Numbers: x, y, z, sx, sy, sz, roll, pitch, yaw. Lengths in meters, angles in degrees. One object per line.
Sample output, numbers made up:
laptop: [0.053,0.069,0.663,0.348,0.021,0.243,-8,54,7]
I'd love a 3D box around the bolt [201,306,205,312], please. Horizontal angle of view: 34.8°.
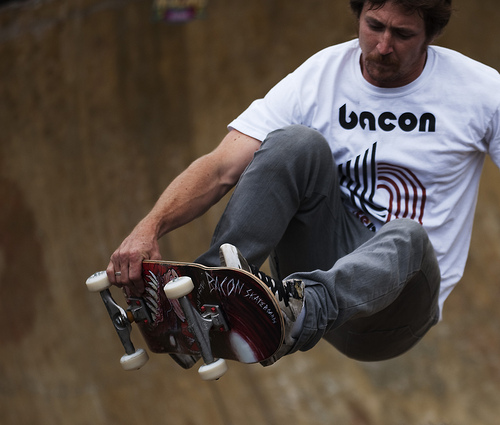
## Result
bolt: [-0.146,0.296,2.419,0.008,0.012,0.012,2,63,-8]

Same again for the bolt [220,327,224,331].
bolt: [-0.089,0.356,2.410,0.012,0.011,0.003,14,48,12]

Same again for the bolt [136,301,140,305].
bolt: [-0.368,0.295,2.589,0.013,0.003,0.014,5,84,8]

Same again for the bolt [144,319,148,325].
bolt: [-0.345,0.360,2.605,0.011,0.003,0.013,-6,95,13]

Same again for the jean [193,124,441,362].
jean: [0.273,0.131,2.781,0.757,1.163,0.681,22,86,25]

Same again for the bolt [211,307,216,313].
bolt: [-0.112,0.295,2.404,0.012,0.013,0.011,4,36,12]

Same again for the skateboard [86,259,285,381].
skateboard: [-0.200,0.313,2.515,0.713,0.133,0.429,4,90,30]

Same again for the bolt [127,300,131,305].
bolt: [-0.402,0.298,2.618,0.010,0.011,0.014,-10,78,-23]

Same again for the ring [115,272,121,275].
ring: [-0.434,0.200,2.592,0.012,0.009,0.007,-5,77,13]
